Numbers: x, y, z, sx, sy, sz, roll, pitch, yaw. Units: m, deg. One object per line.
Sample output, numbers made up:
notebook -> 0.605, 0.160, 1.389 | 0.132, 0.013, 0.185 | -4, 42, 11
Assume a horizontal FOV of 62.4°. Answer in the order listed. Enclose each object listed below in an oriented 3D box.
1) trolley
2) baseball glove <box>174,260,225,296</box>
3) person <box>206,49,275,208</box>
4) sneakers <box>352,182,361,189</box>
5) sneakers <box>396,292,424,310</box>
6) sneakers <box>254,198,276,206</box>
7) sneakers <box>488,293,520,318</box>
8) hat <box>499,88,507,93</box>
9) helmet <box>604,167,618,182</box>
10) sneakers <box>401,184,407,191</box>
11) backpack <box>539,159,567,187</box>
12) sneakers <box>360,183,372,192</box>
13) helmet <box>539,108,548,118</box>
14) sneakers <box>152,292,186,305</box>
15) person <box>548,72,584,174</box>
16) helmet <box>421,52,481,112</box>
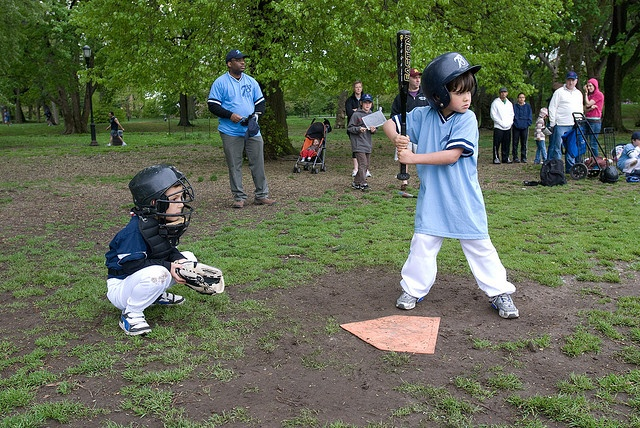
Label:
trolley -> 6.620, -1.559, 12.882 | 1.190, 1.539, 1.077 | 6, 6, 15
baseball glove -> -1.376, 0.731, 6.067 | 0.522, 0.298, 0.182 | 13, 18, -21
person -> -1.489, -1.576, 9.859 | 0.706, 2.956, 1.000 | 4, 12, 33
sneakers -> 0.797, -0.626, 11.848 | 0.110, 0.136, 0.280 | -7, 10, -24
sneakers -> 1.092, 1.060, 6.435 | 0.145, 0.148, 0.340 | 32, 11, 27
sneakers -> -1.077, -0.254, 10.462 | 0.413, 0.172, 0.153 | -1, 8, 5
sneakers -> 2.129, 1.053, 6.125 | 0.325, 0.257, 0.230 | 1, 10, 22
hat -> 5.065, -3.429, 14.664 | 0.277, 0.126, 0.388 | 0, 9, 14
helmet -> 6.630, -0.905, 12.079 | 0.305, 0.332, 0.298 | 4, -19, 8
sneakers -> 1.856, -0.586, 11.724 | 0.133, 0.133, 0.132 | 3, -12, -36
backpack -> 5.352, -0.957, 12.161 | 0.643, 0.596, 0.359 | -5, 4, -7
sneakers -> 1.004, -0.602, 11.763 | 0.258, 0.168, 0.173 | -9, 11, -36
helmet -> 6.112, -2.785, 14.503 | 0.268, 0.331, 0.337 | -3, 11, 9
sneakers -> -1.803, 1.021, 6.338 | 0.380, 0.141, 0.130 | -1, 11, -13
person -> 5.976, -2.210, 12.832 | 0.810, 2.385, 0.700 | 1, 9, 17
helmet -> 1.458, -1.516, 5.999 | 0.613, 0.635, 0.285 | -1, 10, 10
